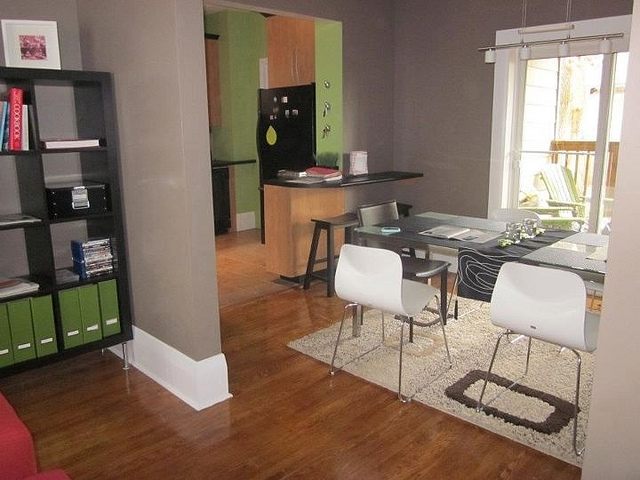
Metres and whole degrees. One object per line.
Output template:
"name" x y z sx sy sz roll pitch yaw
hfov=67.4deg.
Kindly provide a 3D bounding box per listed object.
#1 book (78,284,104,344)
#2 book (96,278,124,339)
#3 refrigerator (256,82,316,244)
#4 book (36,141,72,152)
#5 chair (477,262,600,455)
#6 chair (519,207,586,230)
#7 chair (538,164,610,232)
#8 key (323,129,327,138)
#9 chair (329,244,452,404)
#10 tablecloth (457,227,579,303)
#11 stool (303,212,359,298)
"book" -1.576 0.491 3.271 0.193 0.357 0.364 -7 9 -27
"book" -1.476 0.464 3.347 0.196 0.358 0.364 -10 12 -26
"refrigerator" -0.471 -1.345 6.004 0.386 1.144 1.038 -14 19 -34
"book" -1.673 -0.597 3.066 0.159 0.064 0.047 -10 17 -26
"chair" 1.265 0.636 2.905 0.633 1.040 0.604 10 17 27
"chair" 2.461 -0.233 4.985 0.667 0.237 0.448 8 17 19
"chair" 2.791 -0.507 5.014 0.498 0.685 0.705 -20 32 -27
"key" 0.063 -1.216 5.461 0.059 0.091 0.006 8 19 34
"chair" 0.420 0.524 3.430 0.758 1.072 0.715 16 21 38
"tablecloth" 1.298 0.148 3.451 0.409 0.795 0.447 5 12 28
"stool" 0.082 0.108 5.003 0.479 0.923 0.509 15 15 19
